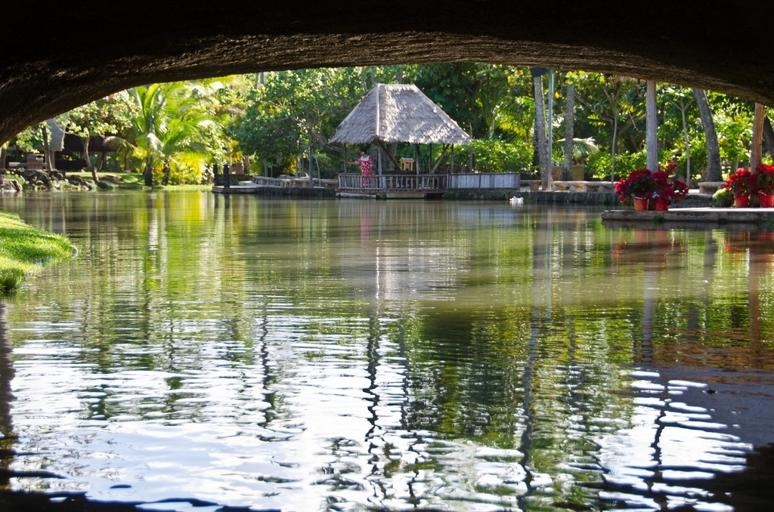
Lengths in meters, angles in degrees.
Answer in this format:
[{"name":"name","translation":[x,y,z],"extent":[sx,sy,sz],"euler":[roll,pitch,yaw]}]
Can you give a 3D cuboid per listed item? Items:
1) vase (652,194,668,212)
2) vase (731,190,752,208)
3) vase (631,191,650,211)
[{"name":"vase","translation":[6.560,-1.241,23.533],"extent":[0.532,0.461,0.451],"euler":[4,10,11]},{"name":"vase","translation":[8.794,-1.389,24.400],"extent":[0.404,0.255,0.373],"euler":[1,0,2]},{"name":"vase","translation":[6.170,-1.299,23.922],"extent":[0.451,0.306,0.436],"euler":[0,-1,-1]}]
